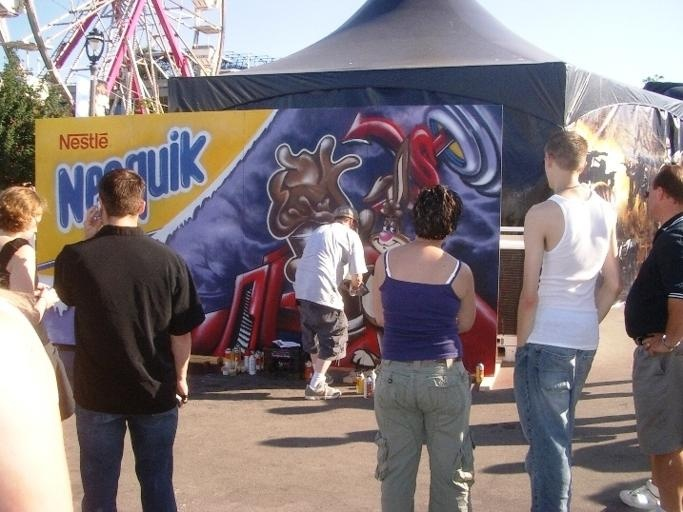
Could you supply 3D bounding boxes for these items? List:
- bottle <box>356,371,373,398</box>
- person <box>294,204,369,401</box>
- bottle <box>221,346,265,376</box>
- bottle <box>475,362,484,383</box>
[{"bbox_3d":[0.259,1.406,8.657,0.235,0.357,0.253,0,-2,0],"label":"bottle"},{"bbox_3d":[-0.117,0.539,8.403,0.729,2.049,0.388,-1,7,-5],"label":"person"},{"bbox_3d":[-1.207,1.301,9.610,0.523,0.322,0.376,1,4,-4],"label":"bottle"},{"bbox_3d":[1.574,1.342,8.887,0.080,0.233,0.125,2,8,19],"label":"bottle"}]
